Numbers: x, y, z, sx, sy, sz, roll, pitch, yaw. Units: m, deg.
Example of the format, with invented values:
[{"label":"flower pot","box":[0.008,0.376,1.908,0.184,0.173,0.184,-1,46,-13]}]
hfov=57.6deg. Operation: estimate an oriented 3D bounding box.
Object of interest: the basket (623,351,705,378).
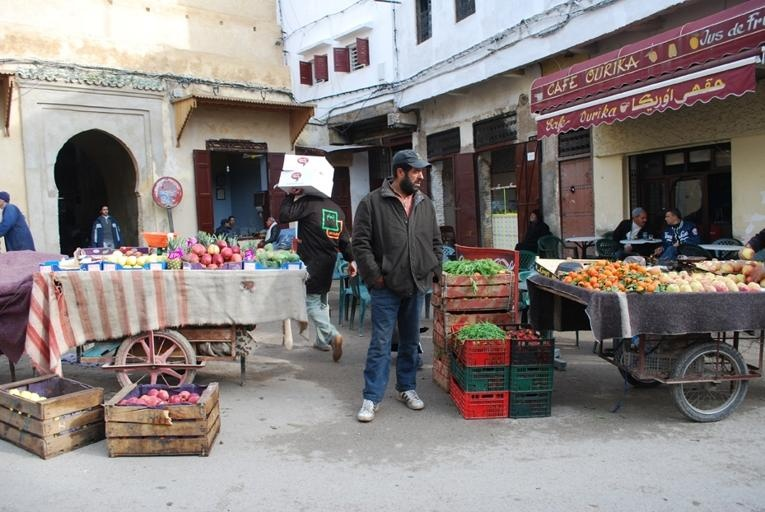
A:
[{"label":"basket","box":[3.023,1.210,7.780,0.401,0.168,0.572,0,4,-7]}]

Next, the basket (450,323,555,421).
[{"label":"basket","box":[1.366,1.315,7.727,1.019,0.753,1.020,1,2,2]}]

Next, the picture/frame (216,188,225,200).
[{"label":"picture/frame","box":[-5.711,-2.198,24.452,0.398,0.458,0.058,5,1,-36]}]

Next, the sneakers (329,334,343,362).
[{"label":"sneakers","box":[-0.611,1.241,9.575,0.133,0.411,0.174,2,7,-21]}]

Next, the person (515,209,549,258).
[{"label":"person","box":[3.388,-0.411,15.895,0.786,1.359,0.732,1,3,-21]}]

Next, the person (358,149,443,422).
[{"label":"person","box":[0.179,0.315,7.881,1.030,2.998,0.533,-2,5,-5]}]

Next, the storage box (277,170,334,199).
[{"label":"storage box","box":[-1.011,-0.886,9.536,0.556,0.251,0.392,10,-14,25]}]

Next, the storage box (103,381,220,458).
[{"label":"storage box","box":[-2.307,1.718,7.347,1.073,0.665,0.494,-1,5,1]}]

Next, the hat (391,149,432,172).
[{"label":"hat","box":[0.333,-1.081,7.894,0.439,0.204,0.285,0,6,12]}]

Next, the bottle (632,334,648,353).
[{"label":"bottle","box":[2.951,0.999,8.019,0.187,0.238,0.085,0,7,10]}]

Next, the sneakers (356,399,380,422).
[{"label":"sneakers","box":[-0.166,1.722,7.799,0.146,0.228,0.245,2,6,33]}]

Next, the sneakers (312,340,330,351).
[{"label":"sneakers","box":[-0.884,1.317,10.202,0.116,0.148,0.322,-5,9,-26]}]
